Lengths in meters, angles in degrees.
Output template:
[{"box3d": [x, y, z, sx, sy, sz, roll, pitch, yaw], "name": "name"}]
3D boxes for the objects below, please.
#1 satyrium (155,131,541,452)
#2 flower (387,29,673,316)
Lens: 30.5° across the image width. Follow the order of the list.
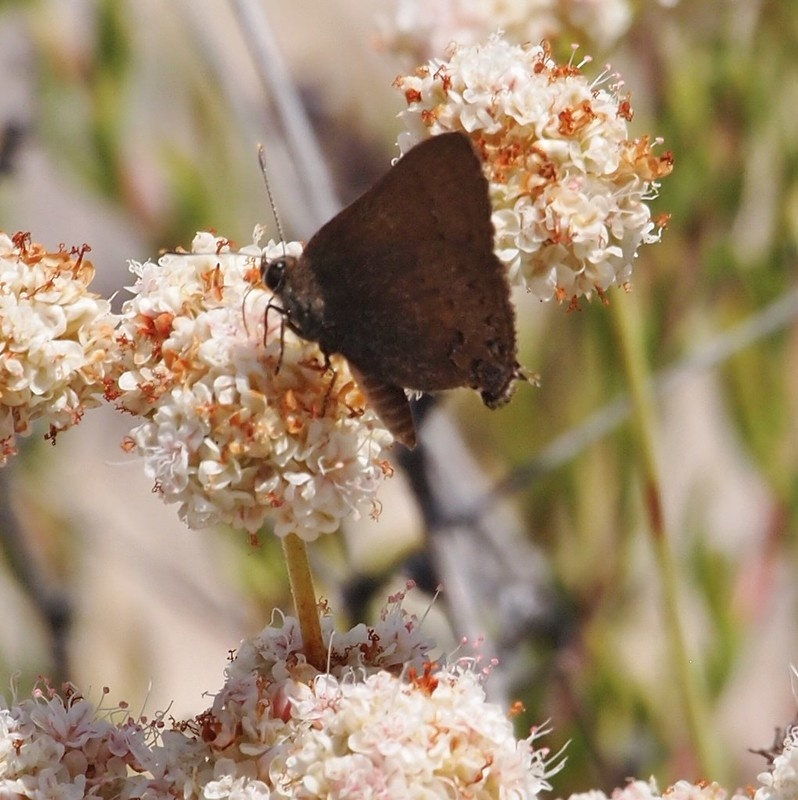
[{"box3d": [-0.084, -0.184, 2.038, 0.447, 0.475, 0.316, 16, -102, -27], "name": "satyrium"}, {"box3d": [0.227, -0.326, 2.162, 0.364, 0.362, 0.252, 49, -58, 9], "name": "flower"}]
